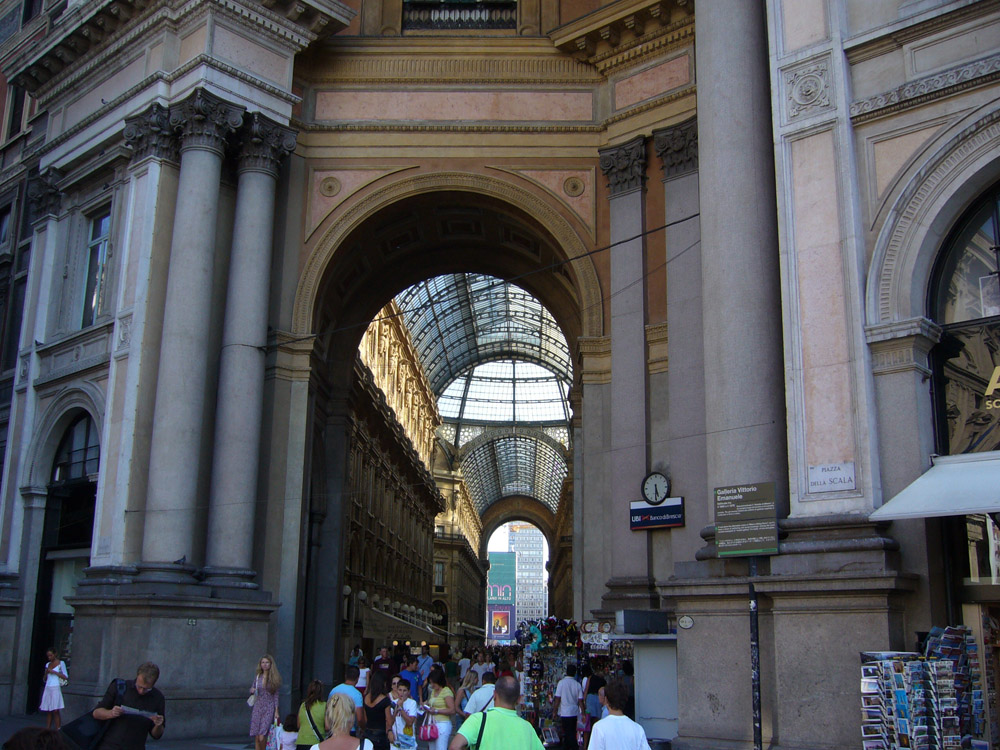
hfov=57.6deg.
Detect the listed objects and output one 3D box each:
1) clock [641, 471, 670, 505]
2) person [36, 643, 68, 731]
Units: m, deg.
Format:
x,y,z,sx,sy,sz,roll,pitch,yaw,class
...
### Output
x,y,z,sx,sy,sz,roll,pitch,yaw,class
3.322,2.430,19.398,0.602,0.776,0.123,-4,-24,37,clock
-9.102,6.426,18.660,0.439,1.487,0.823,7,-18,-26,person
